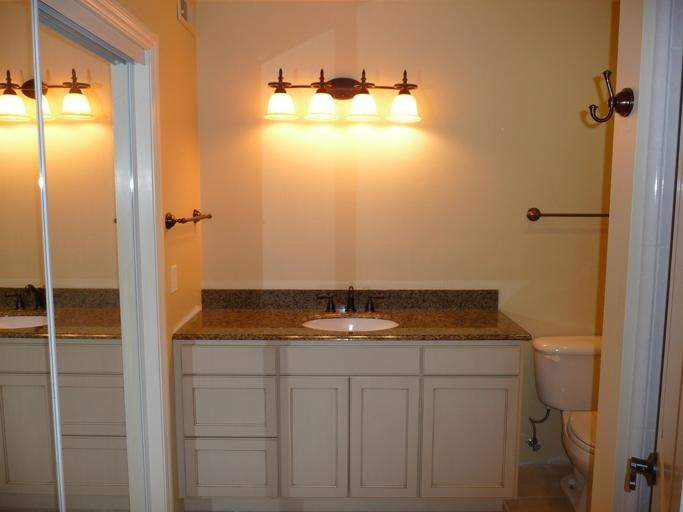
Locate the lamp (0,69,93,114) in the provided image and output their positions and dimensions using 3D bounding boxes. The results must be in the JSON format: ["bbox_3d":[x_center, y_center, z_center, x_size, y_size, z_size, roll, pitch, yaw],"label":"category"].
[{"bbox_3d":[-0.948,-0.507,1.927,0.209,0.095,0.080,-1,7,-20],"label":"lamp"}]

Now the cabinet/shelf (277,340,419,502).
[{"bbox_3d":[0.023,0.766,2.966,0.718,0.808,0.402,0,3,-1],"label":"cabinet/shelf"}]

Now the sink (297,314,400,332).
[{"bbox_3d":[0.049,0.365,3.244,0.490,0.087,0.152,2,6,4],"label":"sink"}]

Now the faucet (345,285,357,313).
[{"bbox_3d":[0.054,0.231,3.358,0.064,0.143,0.114,1,7,-3],"label":"faucet"}]

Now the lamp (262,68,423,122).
[{"bbox_3d":[0.006,-0.841,3.170,0.798,0.253,0.213,0,2,-2],"label":"lamp"}]
